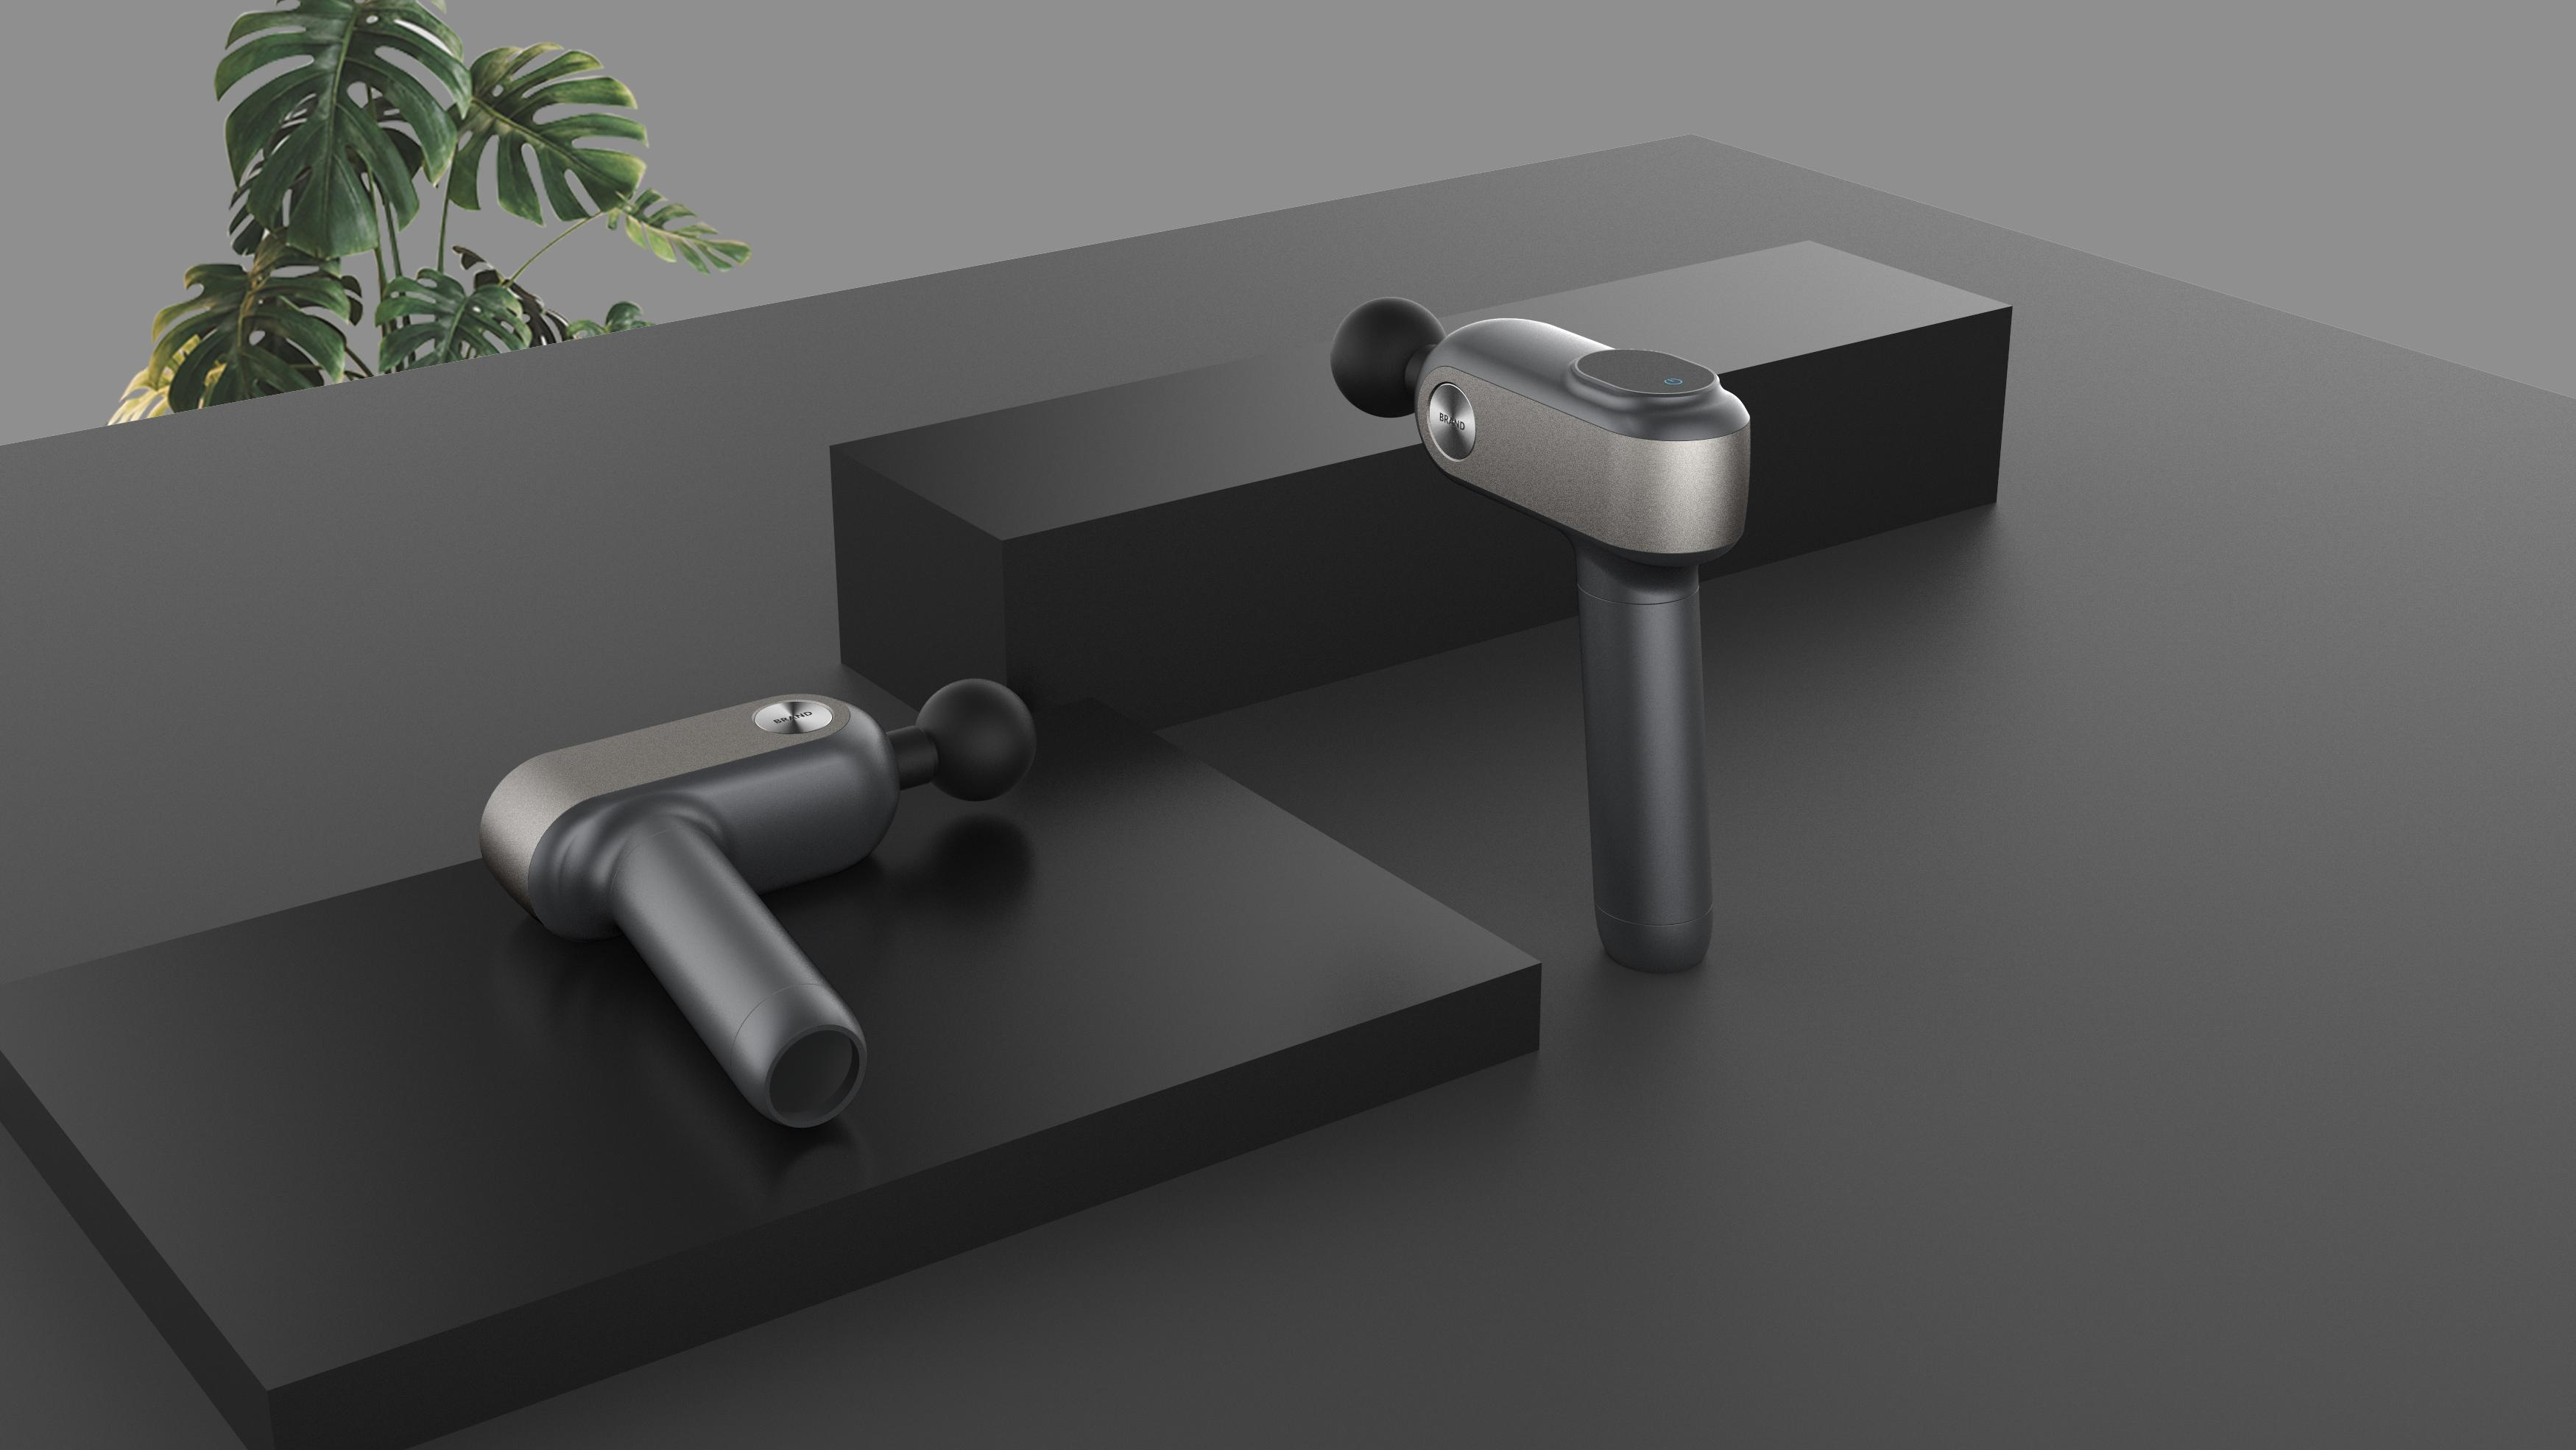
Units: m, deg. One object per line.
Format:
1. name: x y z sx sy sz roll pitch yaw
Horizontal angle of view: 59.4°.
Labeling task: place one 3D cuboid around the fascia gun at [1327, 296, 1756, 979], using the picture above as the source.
1. fascia gun: 0.261 -0.074 1.898 0.154 0.525 0.269 -22 32 -24
